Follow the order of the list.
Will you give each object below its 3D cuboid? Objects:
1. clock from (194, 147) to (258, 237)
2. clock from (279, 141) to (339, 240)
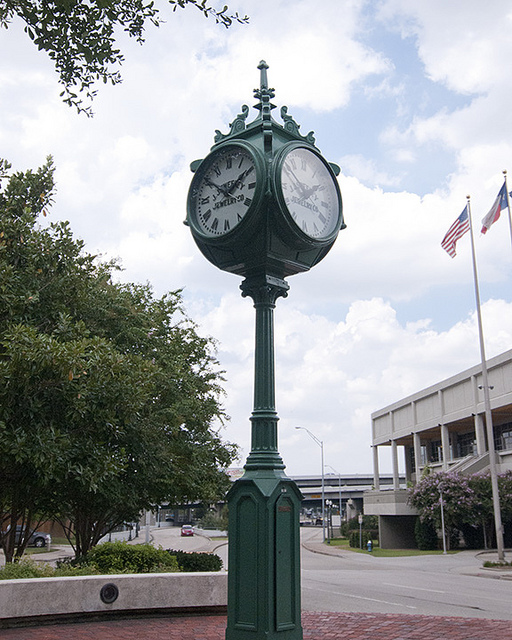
[{"bbox_3d":[-0.381,-1.480,11.396,0.184,0.991,0.997,7,-16,-40],"label":"clock"},{"bbox_3d":[0.617,-1.462,11.440,0.210,1.133,1.071,-11,-14,33],"label":"clock"}]
